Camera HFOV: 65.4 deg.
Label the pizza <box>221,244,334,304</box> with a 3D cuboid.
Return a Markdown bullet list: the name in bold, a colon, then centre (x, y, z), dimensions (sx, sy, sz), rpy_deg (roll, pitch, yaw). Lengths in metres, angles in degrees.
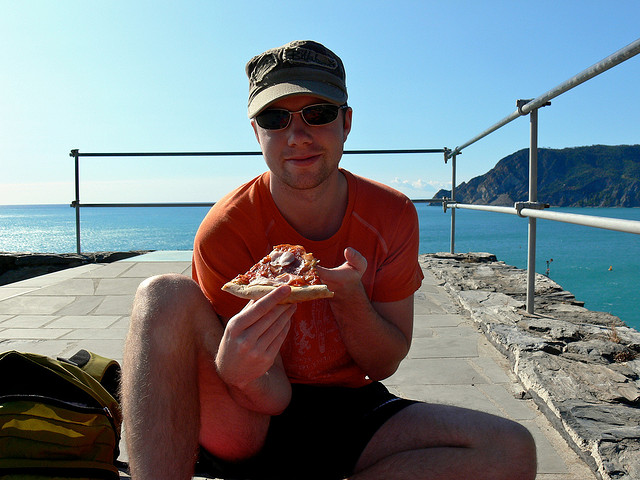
- **pizza**: centre (-0.169, 0.141, 2.126), dimensions (0.346, 0.212, 0.404), rpy_deg (-4, 6, -42)

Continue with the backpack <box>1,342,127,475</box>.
- **backpack**: centre (-1.053, 0.711, 2.053), dimensions (0.409, 0.518, 0.517), rpy_deg (-3, 44, -12)
